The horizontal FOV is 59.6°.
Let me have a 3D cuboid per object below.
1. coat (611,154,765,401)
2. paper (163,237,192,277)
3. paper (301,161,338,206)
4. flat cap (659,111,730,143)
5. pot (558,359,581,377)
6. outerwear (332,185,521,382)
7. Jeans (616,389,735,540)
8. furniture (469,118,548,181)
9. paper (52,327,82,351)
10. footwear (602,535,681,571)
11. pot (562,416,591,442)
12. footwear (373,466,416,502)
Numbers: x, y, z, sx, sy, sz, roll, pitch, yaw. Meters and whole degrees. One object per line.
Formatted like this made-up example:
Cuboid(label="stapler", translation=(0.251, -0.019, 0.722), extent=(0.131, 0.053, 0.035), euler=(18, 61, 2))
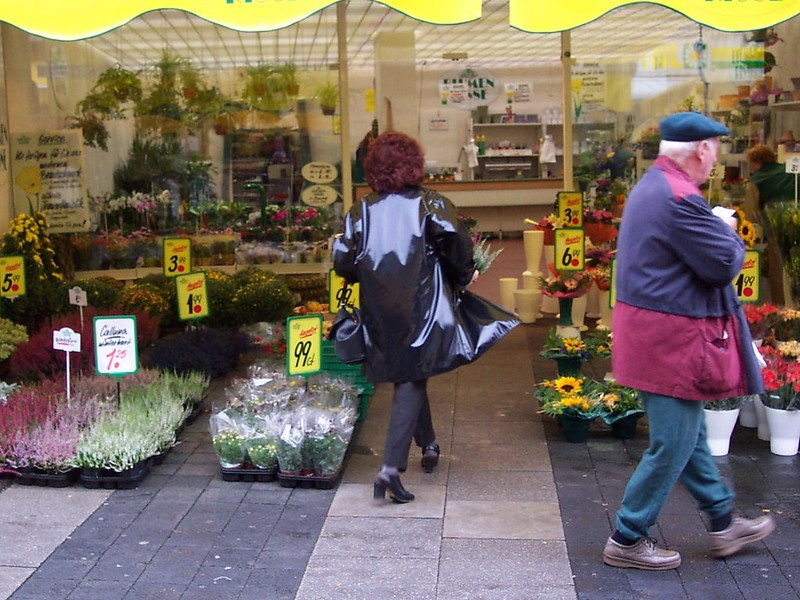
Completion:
Cuboid(label="coat", translation=(1.271, -0.066, 3.044), extent=(0.611, 0.980, 0.302), euler=(5, 15, 26))
Cuboid(label="paper", translation=(-1.902, -0.355, 5.977), extent=(0.255, 0.339, 0.035), euler=(0, 0, 10))
Cuboid(label="paper", translation=(-0.818, -1.228, 7.223), extent=(0.447, 0.507, 0.011), euler=(5, 11, 8))
Cuboid(label="flat cap", translation=(1.292, -0.764, 3.079), extent=(0.204, 0.073, 0.176), euler=(14, 24, 39))
Cuboid(label="pot", translation=(1.328, 0.517, 5.429), extent=(0.161, 0.111, 0.155), euler=(1, -2, 0))
Cuboid(label="outerwear", translation=(0.117, -0.069, 3.889), extent=(0.950, 1.079, 0.364), euler=(-3, 14, -7))
Cuboid(label="Jeans", translation=(1.380, 0.823, 3.422), extent=(0.586, 0.914, 0.279), euler=(-3, 40, 13))
Cuboid(label="furniture", translation=(2.287, -3.214, 14.723), extent=(1.461, 1.319, 0.461), euler=(-1, 4, -6))
Cuboid(label="paper", translation=(-2.172, 0.258, 4.545), extent=(0.220, 0.172, 0.029), euler=(1, -3, 3))
Cuboid(label="footwear", translation=(1.127, 1.180, 3.318), extent=(0.369, 0.157, 0.139), euler=(-1, 3, 4))
Cuboid(label="pot", translation=(1.138, 0.818, 4.610), extent=(0.195, 0.140, 0.188), euler=(1, 5, 0))
Cuboid(label="footwear", translation=(0.015, 1.021, 3.921), extent=(0.330, 0.211, 0.119), euler=(1, 3, -27))
